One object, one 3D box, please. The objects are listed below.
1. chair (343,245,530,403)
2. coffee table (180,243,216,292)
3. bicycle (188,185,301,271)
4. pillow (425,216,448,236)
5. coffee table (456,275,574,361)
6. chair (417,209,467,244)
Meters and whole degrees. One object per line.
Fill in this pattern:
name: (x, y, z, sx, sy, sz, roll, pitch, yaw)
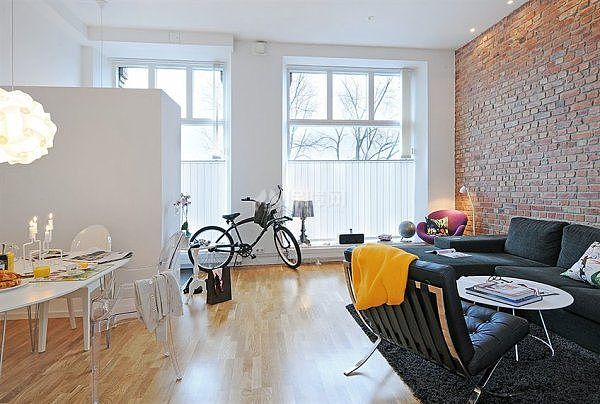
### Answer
chair: (1.403, 0.956, 4.314, 1.526, 1.530, 1.537, 2, -4, -34)
coffee table: (-1.513, 0.990, 5.943, 0.533, 0.759, 0.310, -4, -10, 24)
bicycle: (-0.997, 0.592, 7.584, 2.221, 1.597, 1.116, 0, 0, -10)
pillow: (2.455, 0.456, 7.224, 0.313, 0.314, 0.121, 0, -16, 14)
coffee table: (2.352, 1.019, 4.410, 1.001, 0.661, 1.031, -10, 7, -30)
chair: (2.515, 0.495, 7.171, 0.722, 0.756, 0.791, 5, 2, -39)
